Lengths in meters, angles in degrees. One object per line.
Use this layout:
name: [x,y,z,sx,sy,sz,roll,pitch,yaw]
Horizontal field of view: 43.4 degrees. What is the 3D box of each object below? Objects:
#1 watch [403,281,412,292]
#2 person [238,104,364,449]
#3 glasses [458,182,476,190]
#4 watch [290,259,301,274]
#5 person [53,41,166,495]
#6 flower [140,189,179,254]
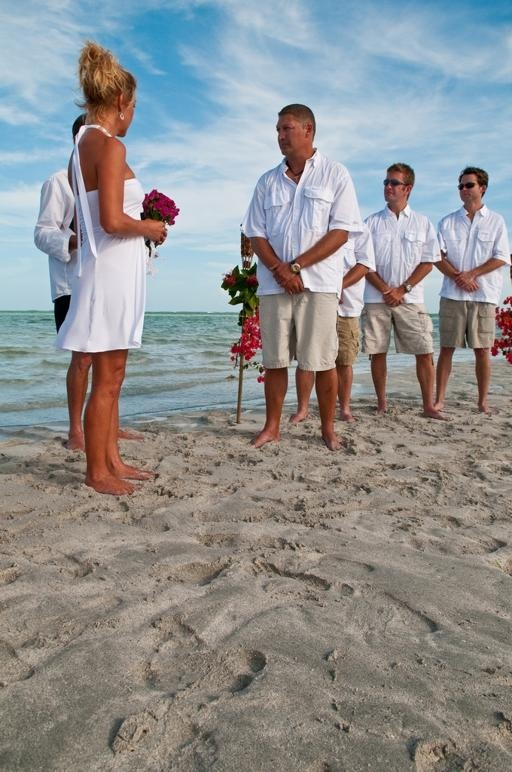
watch: [1.252,-0.823,5.327,0.054,0.072,0.073,-2,-23,13]
person: [0.274,-0.664,4.113,0.731,2.121,0.415,3,9,8]
glasses: [1.824,-1.734,5.574,0.138,0.076,0.177,5,9,17]
watch: [0.238,-0.722,3.908,0.058,0.086,0.081,-25,6,-4]
person: [-0.640,-0.444,2.844,0.474,1.964,0.653,1,9,-9]
flower: [-0.565,-0.903,3.529,0.264,0.303,0.220,13,14,14]
